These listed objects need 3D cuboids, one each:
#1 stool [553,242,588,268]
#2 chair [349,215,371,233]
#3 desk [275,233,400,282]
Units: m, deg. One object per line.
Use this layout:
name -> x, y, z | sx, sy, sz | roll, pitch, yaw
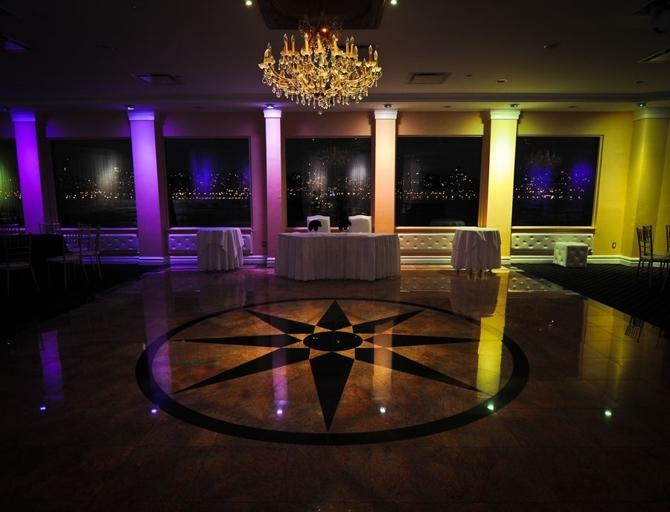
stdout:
stool -> 4.466, -0.027, 9.302 | 0.494, 0.459, 0.512 | 2, 4, 38
chair -> 0.449, -0.549, 8.882 | 0.470, 0.468, 0.275 | 0, -1, -2
desk -> 0.035, 0.030, 8.121 | 2.082, 0.774, 0.530 | 0, 10, -2
